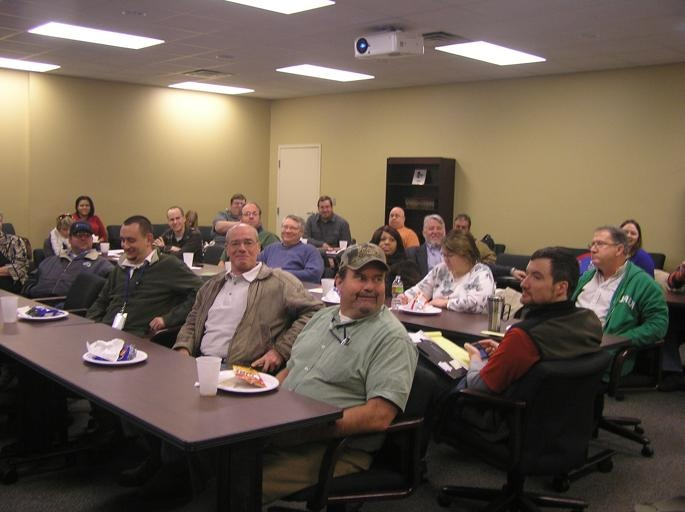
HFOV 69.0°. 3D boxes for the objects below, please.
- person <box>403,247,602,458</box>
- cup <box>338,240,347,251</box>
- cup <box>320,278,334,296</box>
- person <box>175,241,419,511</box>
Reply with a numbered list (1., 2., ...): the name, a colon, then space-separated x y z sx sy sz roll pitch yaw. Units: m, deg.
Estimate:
1. person: 0.864 0.437 2.341 0.616 0.931 0.429 6 9 21
2. cup: 0.018 -0.159 7.082 0.166 0.178 0.157 1 5 0
3. cup: -0.123 0.248 4.011 0.115 0.127 0.111 2 3 0
4. person: 0.013 0.433 2.069 0.577 0.928 0.698 3 9 3
